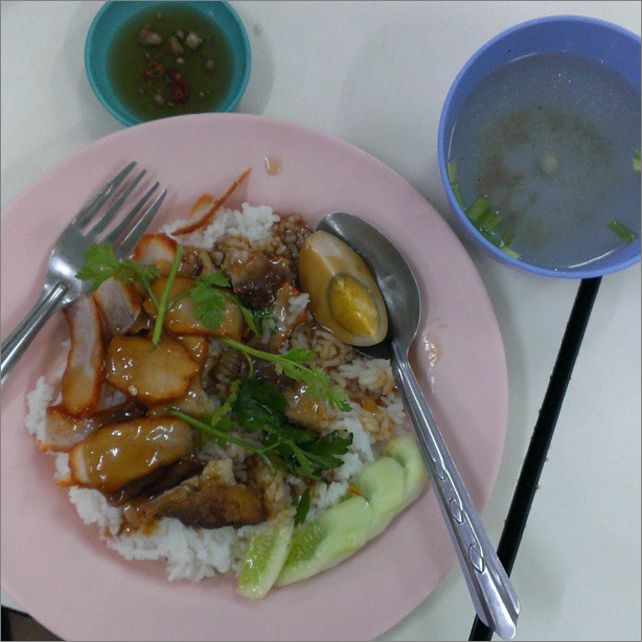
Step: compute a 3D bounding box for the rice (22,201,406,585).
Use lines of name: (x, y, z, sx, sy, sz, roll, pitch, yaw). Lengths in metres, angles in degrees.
rice: (-0.314, 0.223, 1.833, 0.706, 0.468, 0.643, -24, 46, -28)
